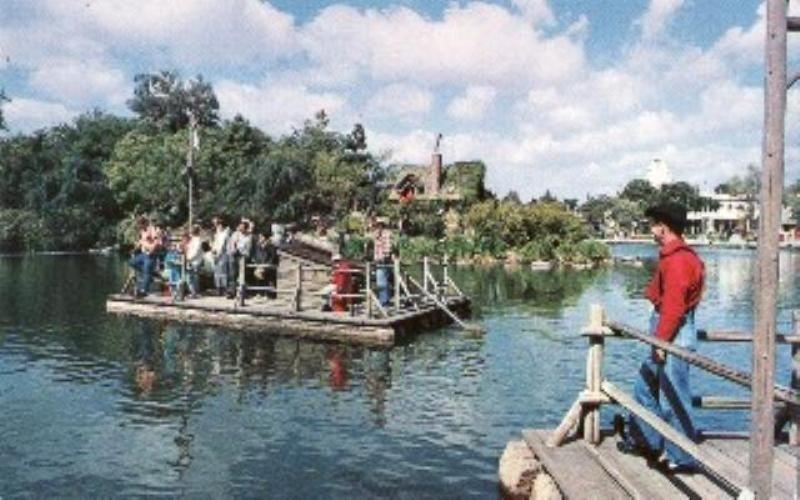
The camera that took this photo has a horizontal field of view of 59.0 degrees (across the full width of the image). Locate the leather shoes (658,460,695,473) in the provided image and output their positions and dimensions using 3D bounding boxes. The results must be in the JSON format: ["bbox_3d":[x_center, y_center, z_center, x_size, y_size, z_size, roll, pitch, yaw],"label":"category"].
[{"bbox_3d":[5.414,4.206,13.687,0.450,0.119,0.296,-2,-4,19],"label":"leather shoes"}]
